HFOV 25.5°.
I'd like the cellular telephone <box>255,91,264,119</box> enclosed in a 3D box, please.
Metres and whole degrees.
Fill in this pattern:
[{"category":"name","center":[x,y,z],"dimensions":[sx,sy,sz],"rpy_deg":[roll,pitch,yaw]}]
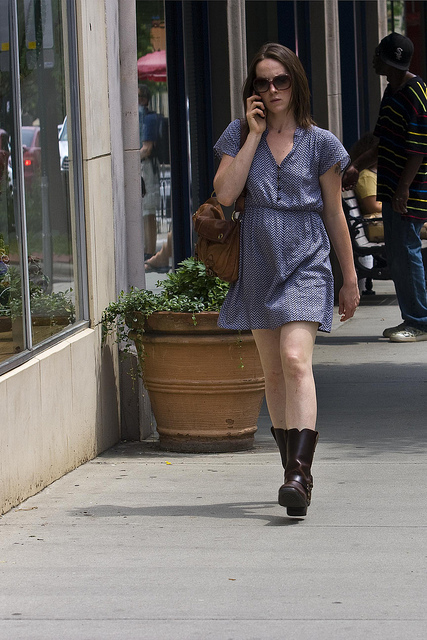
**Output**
[{"category":"cellular telephone","center":[0.165,-0.778,3.414],"dimensions":[0.040,0.102,0.099],"rpy_deg":[5,8,1]}]

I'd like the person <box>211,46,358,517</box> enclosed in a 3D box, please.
[{"category":"person","center":[0.222,-0.141,3.395],"dimensions":[0.555,1.689,0.562],"rpy_deg":[6,9,10]}]

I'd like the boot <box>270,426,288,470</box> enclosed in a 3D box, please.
[{"category":"boot","center":[0.265,0.494,3.602],"dimensions":[0.063,0.164,0.055],"rpy_deg":[-5,-13,-14]}]

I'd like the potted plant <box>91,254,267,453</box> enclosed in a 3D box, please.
[{"category":"potted plant","center":[-0.032,0.174,5.205],"dimensions":[1.032,1.035,1.023],"rpy_deg":[-2,-1,36]}]

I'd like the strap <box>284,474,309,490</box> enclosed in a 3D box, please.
[{"category":"strap","center":[0.296,0.547,3.263],"dimensions":[0.050,0.030,0.061],"rpy_deg":[15,12,-6]}]

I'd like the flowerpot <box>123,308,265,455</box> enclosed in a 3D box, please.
[{"category":"flowerpot","center":[-0.109,0.315,4.751],"dimensions":[0.720,0.759,0.276],"rpy_deg":[4,8,0]}]

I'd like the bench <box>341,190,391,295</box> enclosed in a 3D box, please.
[{"category":"bench","center":[1.361,-0.761,8.366],"dimensions":[0.609,0.774,1.329],"rpy_deg":[-2,6,5]}]

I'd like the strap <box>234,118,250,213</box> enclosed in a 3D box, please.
[{"category":"strap","center":[0.106,-0.566,3.449],"dimensions":[0.044,0.364,0.100],"rpy_deg":[-1,6,13]}]

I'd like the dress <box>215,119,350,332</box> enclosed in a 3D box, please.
[{"category":"dress","center":[0.242,-0.343,3.449],"dimensions":[0.528,0.776,0.236],"rpy_deg":[2,3,21]}]

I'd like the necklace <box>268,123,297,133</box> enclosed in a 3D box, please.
[{"category":"necklace","center":[0.252,-0.696,3.426],"dimensions":[0.077,0.023,0.005],"rpy_deg":[6,-21,7]}]
